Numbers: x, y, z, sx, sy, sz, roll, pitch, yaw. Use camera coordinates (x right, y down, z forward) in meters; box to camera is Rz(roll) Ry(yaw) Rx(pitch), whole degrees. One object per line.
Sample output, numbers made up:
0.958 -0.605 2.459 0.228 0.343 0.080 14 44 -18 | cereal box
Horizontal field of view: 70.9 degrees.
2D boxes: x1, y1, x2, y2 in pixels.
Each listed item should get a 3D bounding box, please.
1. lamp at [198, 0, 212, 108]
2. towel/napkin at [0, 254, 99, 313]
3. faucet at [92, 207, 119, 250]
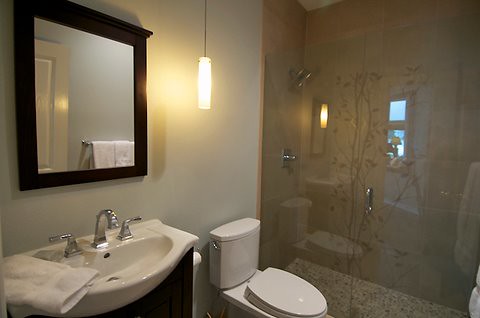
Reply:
-0.294 -0.864 2.748 0.114 0.910 0.314 -1 6 -4 | lamp
-1.163 0.733 1.979 0.602 0.265 0.195 0 6 9 | towel/napkin
-0.932 0.464 2.295 0.163 0.261 0.245 -4 7 -25 | faucet
